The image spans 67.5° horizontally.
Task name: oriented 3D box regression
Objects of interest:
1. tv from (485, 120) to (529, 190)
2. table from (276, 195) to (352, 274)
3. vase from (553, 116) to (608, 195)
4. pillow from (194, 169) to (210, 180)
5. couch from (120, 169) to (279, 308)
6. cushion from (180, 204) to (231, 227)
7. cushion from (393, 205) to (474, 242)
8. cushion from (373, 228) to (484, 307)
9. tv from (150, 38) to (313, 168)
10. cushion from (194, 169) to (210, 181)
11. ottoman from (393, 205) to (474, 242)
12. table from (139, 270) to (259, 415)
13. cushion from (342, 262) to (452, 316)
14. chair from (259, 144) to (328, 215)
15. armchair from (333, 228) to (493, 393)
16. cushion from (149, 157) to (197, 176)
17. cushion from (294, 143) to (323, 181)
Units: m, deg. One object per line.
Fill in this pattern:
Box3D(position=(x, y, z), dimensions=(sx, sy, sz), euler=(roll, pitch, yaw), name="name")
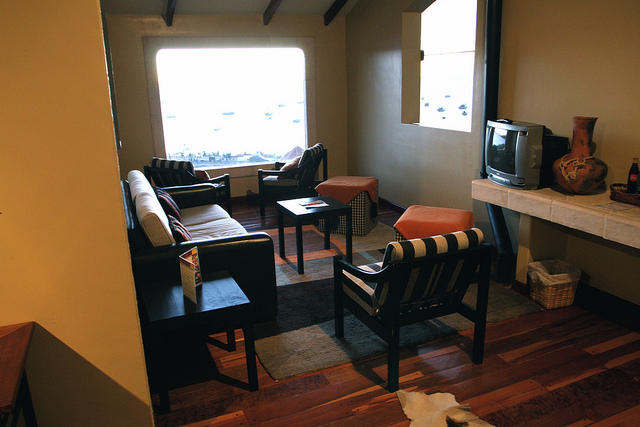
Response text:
Box3D(position=(1.845, -0.555, 4.458), dimensions=(0.376, 0.565, 0.587), euler=(-7, 19, -14), name="tv")
Box3D(position=(-0.076, 0.208, 5.456), dimensions=(0.872, 0.841, 0.861), euler=(-10, 22, -25), name="table")
Box3D(position=(2.210, -0.505, 4.072), dimensions=(0.473, 0.683, 0.488), euler=(11, 27, 40), name="vase")
Box3D(position=(-1.657, -0.548, 6.660), dimensions=(0.186, 0.207, 0.169), euler=(-3, 22, -11), name="pillow")
Box3D(position=(-1.318, 0.175, 4.695), dimensions=(1.164, 0.905, 1.954), euler=(-7, 18, -23), name="couch")
Box3D(position=(-1.338, 0.017, 5.322), dimensions=(0.337, 0.077, 0.329), euler=(-12, 22, -36), name="cushion")
Box3D(position=(1.198, 0.053, 4.950), dimensions=(0.797, 0.394, 0.608), euler=(5, 14, 28), name="cushion")
Box3D(position=(0.792, 0.395, 3.480), dimensions=(0.817, 0.530, 0.193), euler=(-11, 21, -18), name="cushion")
Box3D(position=(-1.419, -1.695, 7.768), dimensions=(2.909, 2.252, 0.110), euler=(2, 18, 13), name="tv")
Box3D(position=(-1.634, -0.561, 6.671), dimensions=(0.221, 0.245, 0.200), euler=(-2, 22, -9), name="cushion")
Box3D(position=(1.219, 0.020, 5.012), dimensions=(0.819, 0.405, 0.625), euler=(5, 14, 28), name="ottoman")
Box3D(position=(-0.896, 0.900, 3.588), dimensions=(0.733, 0.744, 0.702), euler=(-10, 20, -16), name="table")
Box3D(position=(0.502, 0.504, 3.726), dimensions=(0.492, 0.117, 0.505), euler=(-8, 16, -26), name="cushion")
Box3D(position=(-0.352, -0.574, 7.069), dimensions=(1.140, 1.190, 0.895), euler=(1, 19, 0), name="chair")
Box3D(position=(0.737, 0.527, 4.036), dimensions=(1.146, 1.276, 1.266), euler=(-8, 21, -20), name="armchair")
Box3D(position=(-1.897, -0.587, 6.123), dimensions=(0.426, 0.228, 0.095), euler=(-4, 4, 9), name="cushion")
Box3D(position=(-0.177, -0.696, 6.569), dimensions=(0.134, 0.481, 0.380), euler=(17, 19, 35), name="cushion")
